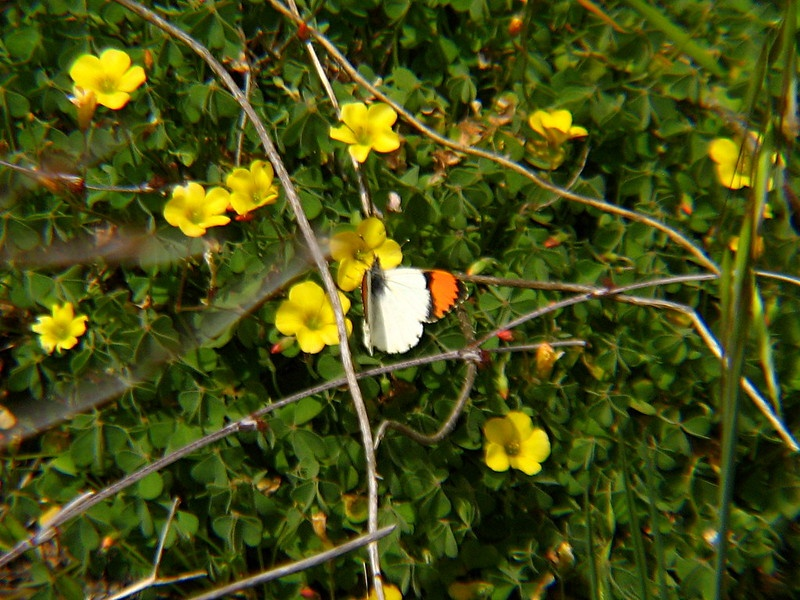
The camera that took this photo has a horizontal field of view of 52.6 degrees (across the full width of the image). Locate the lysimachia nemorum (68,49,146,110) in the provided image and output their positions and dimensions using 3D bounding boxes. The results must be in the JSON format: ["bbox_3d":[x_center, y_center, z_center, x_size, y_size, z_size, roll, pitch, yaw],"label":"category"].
[{"bbox_3d":[-1.025,-0.770,2.839,0.246,0.245,0.082,7,-26,-8],"label":"lysimachia nemorum"}]

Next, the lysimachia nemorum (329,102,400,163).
[{"bbox_3d":[-0.123,-0.609,2.882,0.215,0.243,0.095,-26,-9,-16],"label":"lysimachia nemorum"}]

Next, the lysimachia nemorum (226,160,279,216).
[{"bbox_3d":[-0.513,-0.370,2.853,0.159,0.211,0.127,-24,-10,-10],"label":"lysimachia nemorum"}]

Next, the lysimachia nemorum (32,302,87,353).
[{"bbox_3d":[-1.248,0.112,2.948,0.200,0.185,0.170,11,-30,-16],"label":"lysimachia nemorum"}]

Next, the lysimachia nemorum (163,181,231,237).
[{"bbox_3d":[-0.705,-0.300,2.759,0.148,0.283,0.270,3,-67,2],"label":"lysimachia nemorum"}]
